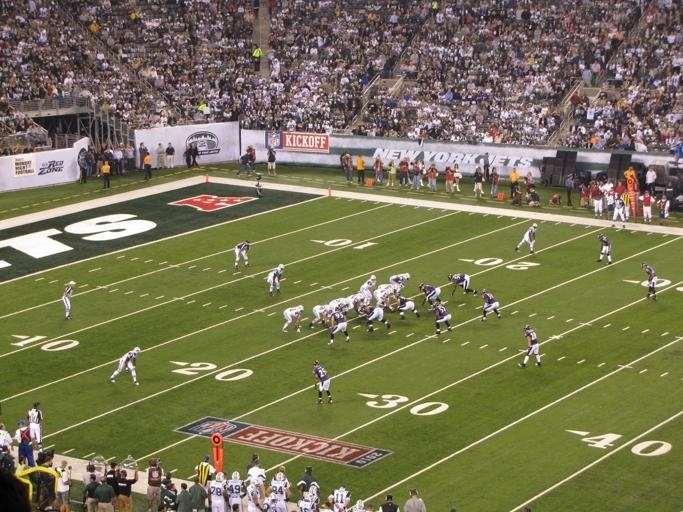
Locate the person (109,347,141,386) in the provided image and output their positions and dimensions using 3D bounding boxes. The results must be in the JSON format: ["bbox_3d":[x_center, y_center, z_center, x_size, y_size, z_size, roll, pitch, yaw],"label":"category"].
[{"bbox_3d":[-8.805,4.549,56.439,1.064,1.261,0.791,18,36,11],"label":"person"}]

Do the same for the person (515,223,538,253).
[{"bbox_3d":[9.003,-0.863,67.364,0.865,1.484,3.100,-1,7,7],"label":"person"}]

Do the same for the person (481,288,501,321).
[{"bbox_3d":[6.506,2.187,60.470,0.647,1.100,0.755,17,43,42],"label":"person"}]

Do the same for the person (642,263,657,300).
[{"bbox_3d":[13.862,1.038,62.415,0.632,1.530,2.449,0,7,13],"label":"person"}]

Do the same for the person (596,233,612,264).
[{"bbox_3d":[12.482,-0.248,66.057,0.714,1.723,1.094,0,15,18],"label":"person"}]

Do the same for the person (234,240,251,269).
[{"bbox_3d":[-4.811,-0.125,66.687,0.758,1.327,2.598,-3,7,-5],"label":"person"}]
